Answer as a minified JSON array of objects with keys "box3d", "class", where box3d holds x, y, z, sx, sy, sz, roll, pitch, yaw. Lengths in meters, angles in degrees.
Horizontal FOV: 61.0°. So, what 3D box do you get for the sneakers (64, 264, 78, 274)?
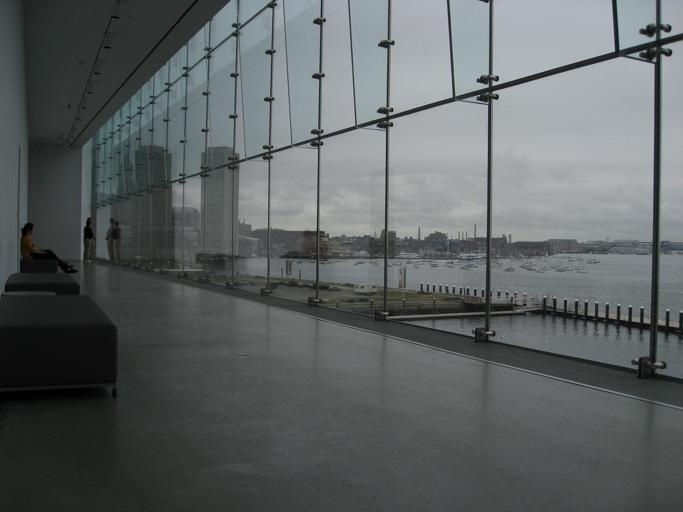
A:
[{"box3d":[-7.659,0.371,16.249,0.367,0.277,0.132,-15,23,-41],"class":"sneakers"}]
